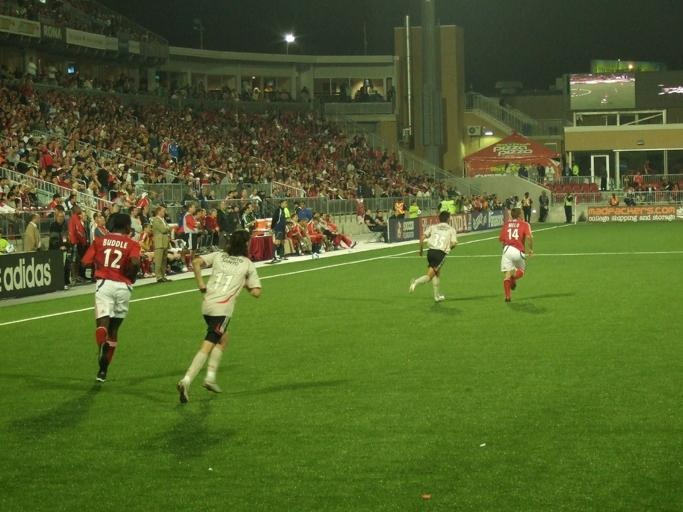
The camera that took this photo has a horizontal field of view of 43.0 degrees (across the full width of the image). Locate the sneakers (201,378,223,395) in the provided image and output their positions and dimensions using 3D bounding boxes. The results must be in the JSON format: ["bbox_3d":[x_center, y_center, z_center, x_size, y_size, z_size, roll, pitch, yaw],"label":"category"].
[{"bbox_3d":[-1.857,1.879,12.525,0.158,0.128,0.359,-13,-25,20],"label":"sneakers"}]

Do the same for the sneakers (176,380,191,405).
[{"bbox_3d":[-2.225,1.920,12.101,0.137,0.441,0.195,1,20,9],"label":"sneakers"}]

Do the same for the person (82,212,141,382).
[{"bbox_3d":[-3.490,0.612,13.422,0.744,2.574,0.761,-4,9,-19],"label":"person"}]

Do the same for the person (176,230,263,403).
[{"bbox_3d":[-1.754,0.844,12.444,1.186,2.434,1.059,-2,9,-9],"label":"person"}]

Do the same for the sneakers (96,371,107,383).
[{"bbox_3d":[-3.698,1.857,13.329,0.084,0.126,0.263,10,8,-3],"label":"sneakers"}]

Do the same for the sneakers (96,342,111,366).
[{"bbox_3d":[-3.619,1.473,13.183,0.147,0.439,0.171,-5,22,-31],"label":"sneakers"}]

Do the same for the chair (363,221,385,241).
[{"bbox_3d":[1.641,-1.095,38.357,0.519,0.789,0.990,-9,12,-42],"label":"chair"}]

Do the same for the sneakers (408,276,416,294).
[{"bbox_3d":[1.570,0.726,19.203,0.116,0.427,0.183,3,42,5],"label":"sneakers"}]
